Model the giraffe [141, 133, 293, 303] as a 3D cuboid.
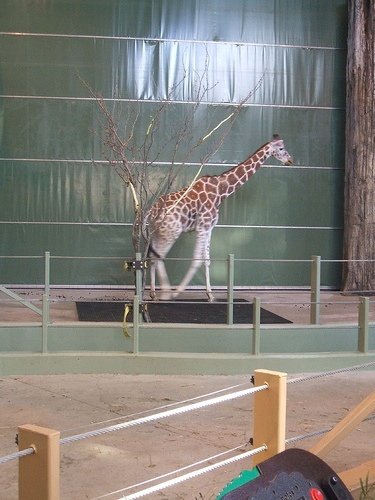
[{"bbox_3d":[0.112,-0.380,10.049,0.936,1.784,1.793,3,4,43],"label":"giraffe"}]
